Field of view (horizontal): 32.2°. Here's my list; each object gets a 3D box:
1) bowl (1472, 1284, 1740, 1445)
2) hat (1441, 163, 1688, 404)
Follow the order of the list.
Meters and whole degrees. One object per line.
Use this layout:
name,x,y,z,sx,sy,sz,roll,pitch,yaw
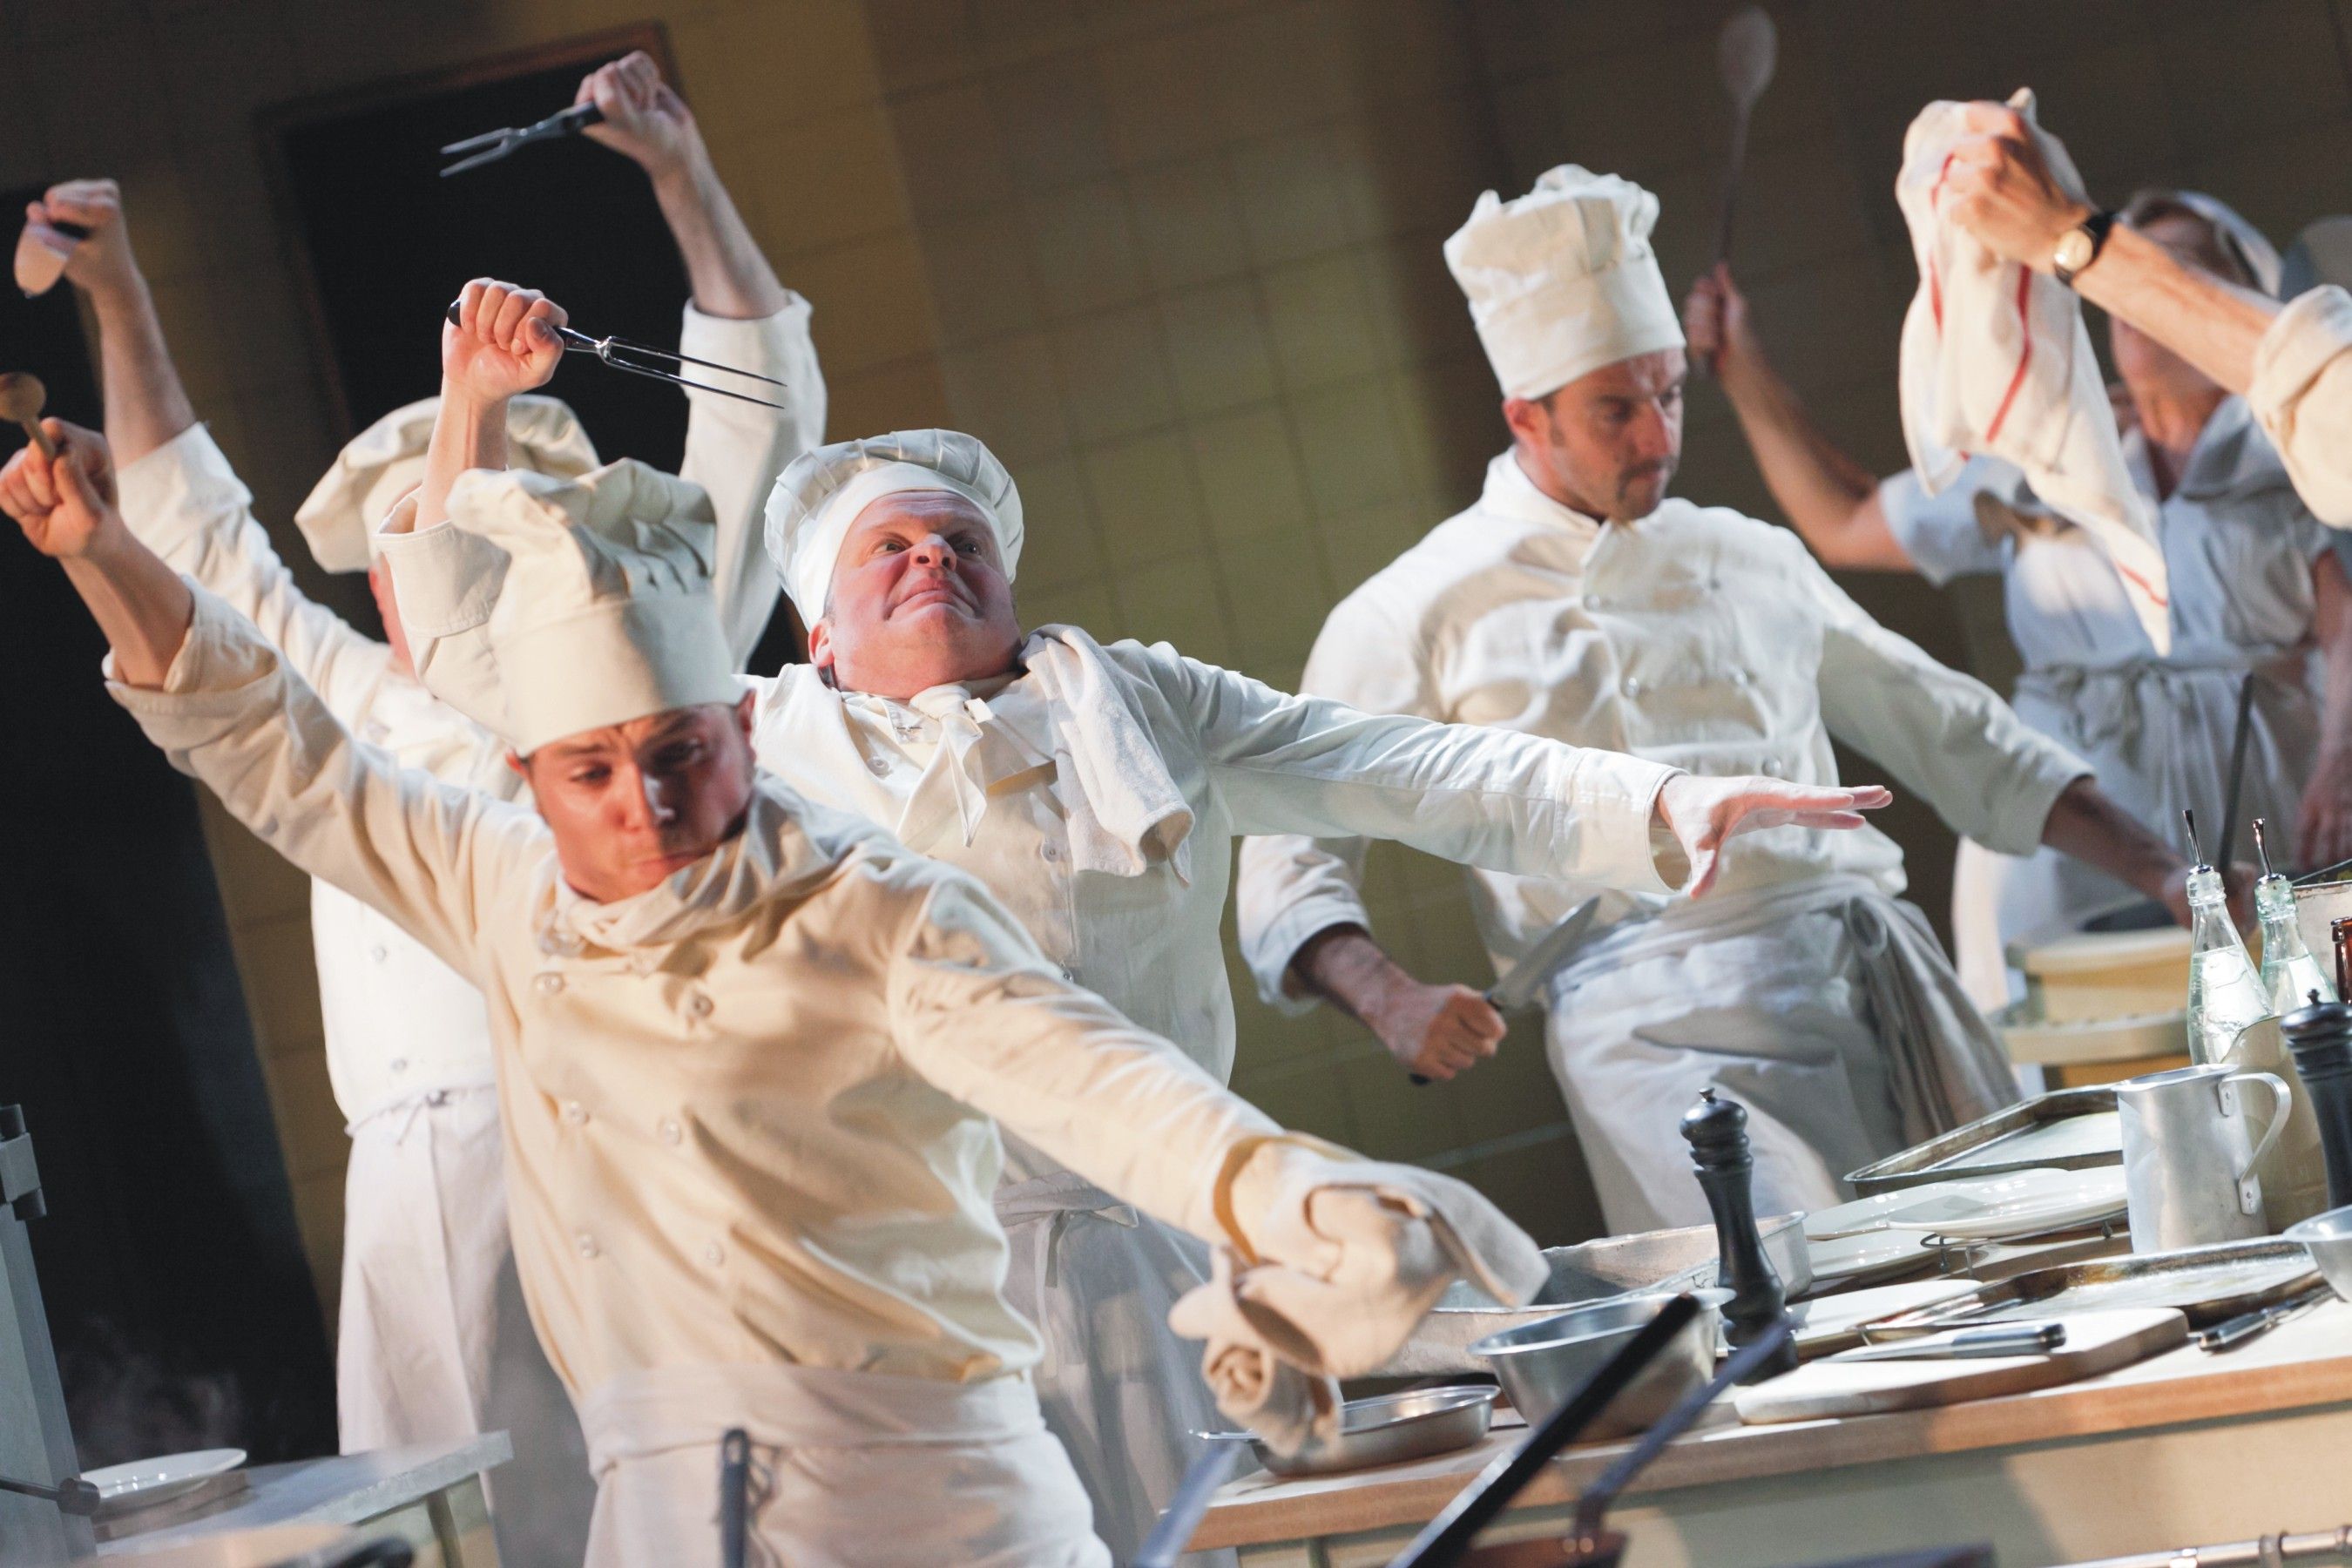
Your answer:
bowl,0.609,0.822,5.864,0.291,0.114,0.279,-15,0,0
hat,0.669,-0.902,7.556,0.468,0.376,0.372,-17,3,-3
